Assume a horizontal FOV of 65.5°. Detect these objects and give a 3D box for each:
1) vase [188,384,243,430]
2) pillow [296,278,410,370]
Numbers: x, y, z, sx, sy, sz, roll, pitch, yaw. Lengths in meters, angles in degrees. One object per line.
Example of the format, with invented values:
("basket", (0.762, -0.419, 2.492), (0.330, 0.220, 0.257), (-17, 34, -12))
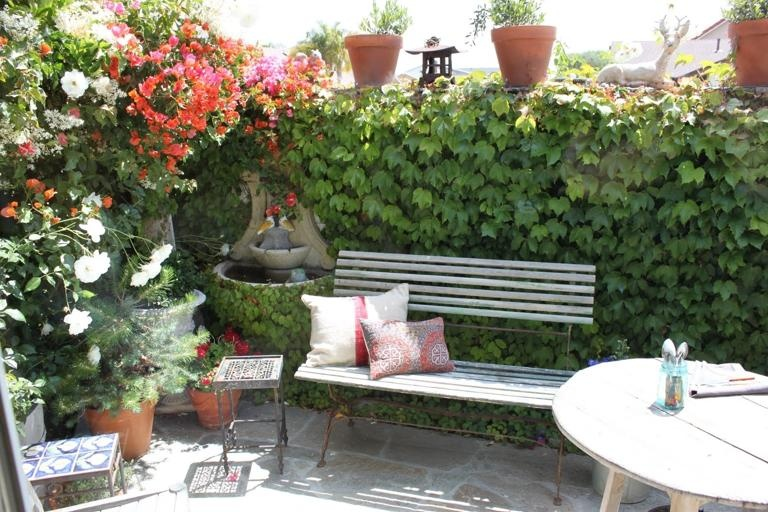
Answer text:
("vase", (-1.248, 1.104, 4.517), (0.351, 0.282, 0.368), (1, 4, 19))
("pillow", (-0.176, 0.516, 4.243), (0.827, 0.650, 0.300), (0, 0, -11))
